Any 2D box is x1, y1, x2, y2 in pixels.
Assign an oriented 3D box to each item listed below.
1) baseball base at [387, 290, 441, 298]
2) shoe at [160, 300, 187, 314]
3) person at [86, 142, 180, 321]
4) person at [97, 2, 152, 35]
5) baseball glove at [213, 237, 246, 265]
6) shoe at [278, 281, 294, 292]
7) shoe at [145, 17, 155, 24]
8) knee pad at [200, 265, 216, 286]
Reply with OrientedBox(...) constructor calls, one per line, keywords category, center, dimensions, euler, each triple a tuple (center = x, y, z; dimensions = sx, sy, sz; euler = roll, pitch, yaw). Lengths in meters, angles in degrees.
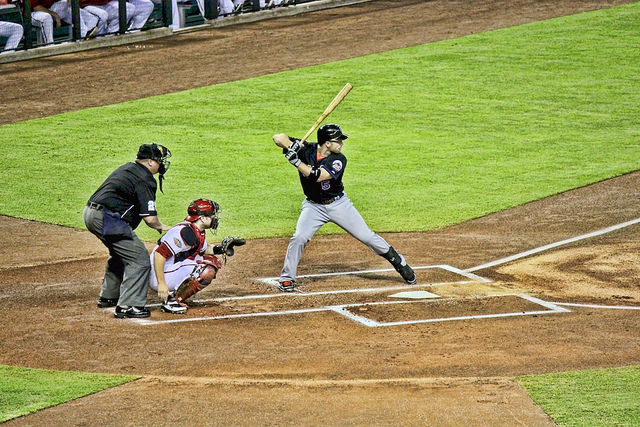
OrientedBox(category="baseball base", center=(1.408, 1.232, 15.611), dimensions=(0.746, 0.044, 0.276), euler=(-2, 12, 4))
OrientedBox(category="shoe", center=(-2.121, 1.365, 14.840), dimensions=(0.409, 0.192, 0.149), euler=(0, 2, 8))
OrientedBox(category="person", center=(-2.681, 0.291, 14.565), dimensions=(1.160, 2.484, 0.611), euler=(-7, 17, -9))
OrientedBox(category="person", center=(-5.050, -5.100, 26.720), dimensions=(0.496, 0.807, 1.411), euler=(7, 17, 36))
OrientedBox(category="baseball glove", center=(-1.385, 0.509, 15.111), dimensions=(0.540, 0.275, 0.202), euler=(-5, 36, 1))
OrientedBox(category="shoe", center=(-0.525, 1.115, 15.620), dimensions=(0.209, 0.164, 0.079), euler=(-4, 16, -1))
OrientedBox(category="shoe", center=(-4.541, -5.170, 27.540), dimensions=(0.072, 0.152, 0.289), euler=(5, 16, 31))
OrientedBox(category="knee pad", center=(-1.617, 0.893, 14.897), dimensions=(0.137, 0.301, 0.229), euler=(5, 17, 30))
